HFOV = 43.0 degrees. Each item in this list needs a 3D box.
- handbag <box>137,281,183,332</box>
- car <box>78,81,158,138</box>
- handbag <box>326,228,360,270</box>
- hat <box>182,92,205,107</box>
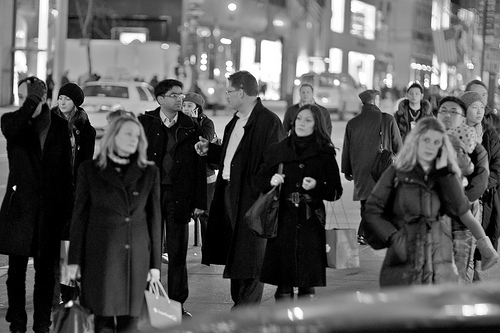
[{"bbox_3d":[-0.753,1.264,5.459,0.271,0.432,0.577,-3,9,-21],"label":"handbag"},{"bbox_3d":[-4.508,-2.183,21.665,2.130,1.562,4.653,0,6,10],"label":"car"},{"bbox_3d":[0.930,0.844,6.441,0.399,0.460,0.336,-3,-2,-2],"label":"handbag"},{"bbox_3d":[-0.867,-1.067,9.987,0.237,0.148,0.302,7,4,2],"label":"hat"}]
